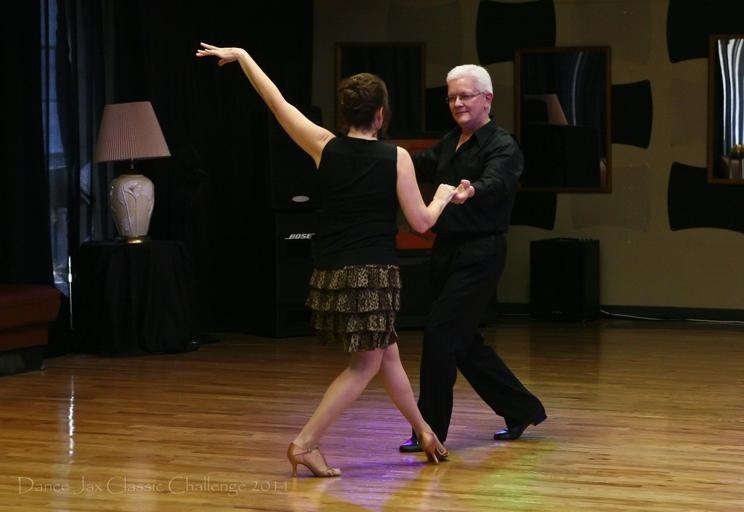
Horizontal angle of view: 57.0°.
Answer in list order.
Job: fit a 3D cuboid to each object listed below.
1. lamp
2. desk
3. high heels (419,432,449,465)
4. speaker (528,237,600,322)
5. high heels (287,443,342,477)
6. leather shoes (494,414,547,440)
[{"bbox_3d":[-1.954,-0.688,5.550,0.543,1.127,0.283,1,6,9],"label":"lamp"},{"bbox_3d":[-1.930,0.320,5.499,0.932,0.894,0.371,-2,6,-17],"label":"desk"},{"bbox_3d":[0.293,0.928,3.310,0.075,0.103,0.250,-1,-7,34],"label":"high heels"},{"bbox_3d":[1.934,0.212,6.716,0.674,1.094,0.720,0,-1,3],"label":"speaker"},{"bbox_3d":[-0.277,0.946,3.245,0.315,0.208,0.119,2,-2,-15],"label":"high heels"},{"bbox_3d":[0.807,0.922,3.698,0.208,0.097,0.079,-17,6,-4],"label":"leather shoes"}]
